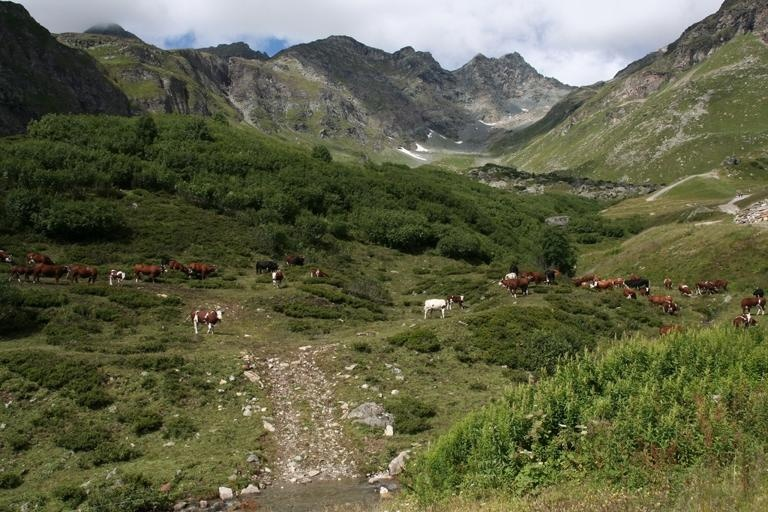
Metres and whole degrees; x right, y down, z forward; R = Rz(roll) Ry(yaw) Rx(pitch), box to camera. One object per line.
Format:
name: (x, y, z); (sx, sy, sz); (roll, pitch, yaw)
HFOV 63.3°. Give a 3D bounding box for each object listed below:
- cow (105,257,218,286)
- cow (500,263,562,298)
cow: (-28.582, 2.096, 82.486); (10.333, 2.644, 5.383); (-8, 4, -30)
cow: (21.845, 3.426, 84.917); (14.276, 4.969, 3.078); (1, -8, -29)
